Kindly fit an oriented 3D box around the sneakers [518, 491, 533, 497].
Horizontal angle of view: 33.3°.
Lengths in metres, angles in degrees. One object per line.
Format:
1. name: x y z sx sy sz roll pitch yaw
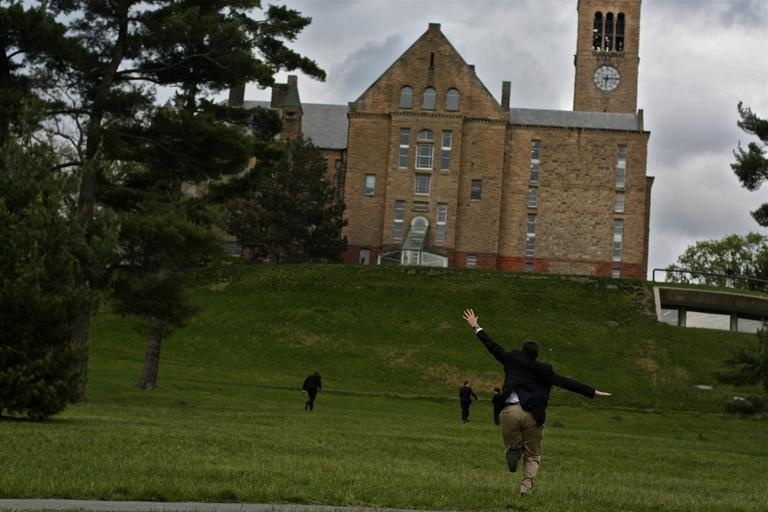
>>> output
1. sneakers: 4.735 7.915 42.948 0.139 0.164 0.409 2 -2 27
